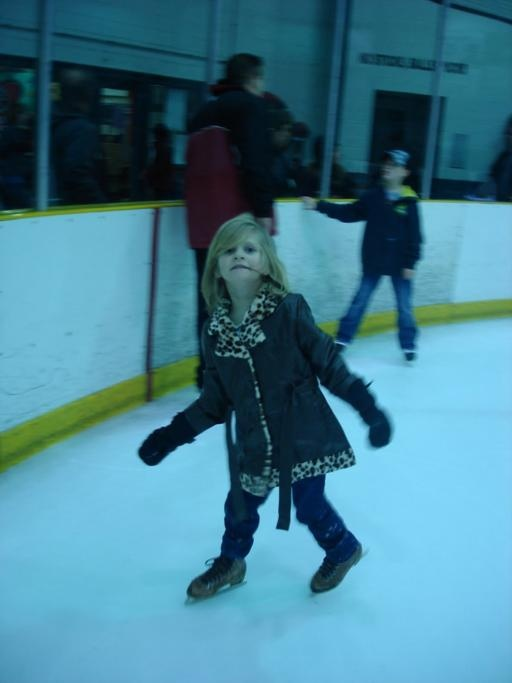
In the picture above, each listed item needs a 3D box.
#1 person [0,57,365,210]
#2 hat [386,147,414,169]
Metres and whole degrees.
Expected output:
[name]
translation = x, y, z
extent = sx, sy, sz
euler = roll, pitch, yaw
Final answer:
[person]
translation = -0.360, -0.855, 2.718
extent = 1.637, 0.538, 0.262
euler = -12, 27, -44
[hat]
translation = 0.783, -1.022, 3.463
extent = 0.120, 0.053, 0.153
euler = -7, 31, -22
